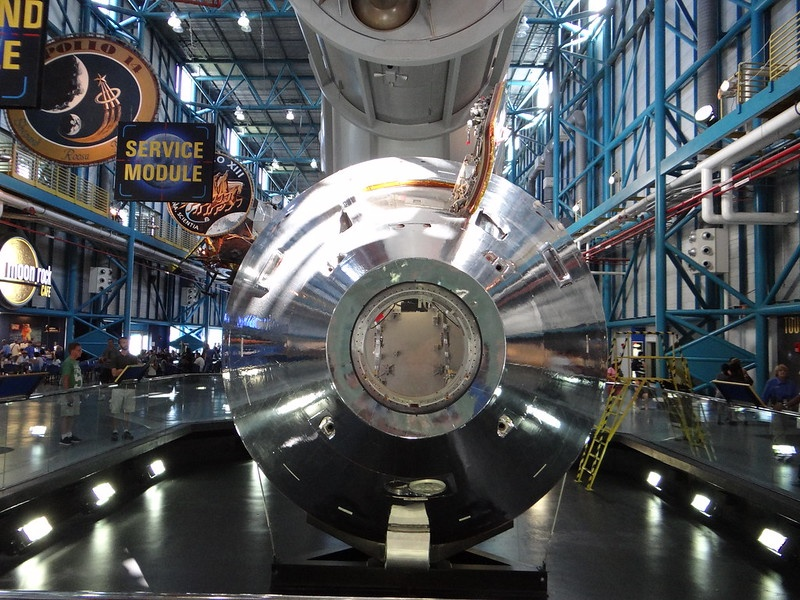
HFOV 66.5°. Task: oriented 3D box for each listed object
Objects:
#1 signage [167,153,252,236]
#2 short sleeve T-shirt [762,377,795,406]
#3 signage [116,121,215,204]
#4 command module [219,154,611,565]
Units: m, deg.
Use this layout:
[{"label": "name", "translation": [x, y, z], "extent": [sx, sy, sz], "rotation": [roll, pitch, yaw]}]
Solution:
[{"label": "signage", "translation": [-4.788, -2.645, 15.499], "extent": [2.019, 0.350, 2.058], "rotation": [35, -83, -12]}, {"label": "short sleeve T-shirt", "translation": [6.652, 1.615, 10.729], "extent": [0.471, 0.427, 0.193], "rotation": [-1, -15, 23]}, {"label": "signage", "translation": [-4.158, -2.409, 10.670], "extent": [1.366, 1.272, 0.150], "rotation": [1, -8, -6]}, {"label": "command module", "translation": [0.095, 0.347, 4.471], "extent": [2.654, 2.235, 1.915], "rotation": [0, -50, 1]}]
